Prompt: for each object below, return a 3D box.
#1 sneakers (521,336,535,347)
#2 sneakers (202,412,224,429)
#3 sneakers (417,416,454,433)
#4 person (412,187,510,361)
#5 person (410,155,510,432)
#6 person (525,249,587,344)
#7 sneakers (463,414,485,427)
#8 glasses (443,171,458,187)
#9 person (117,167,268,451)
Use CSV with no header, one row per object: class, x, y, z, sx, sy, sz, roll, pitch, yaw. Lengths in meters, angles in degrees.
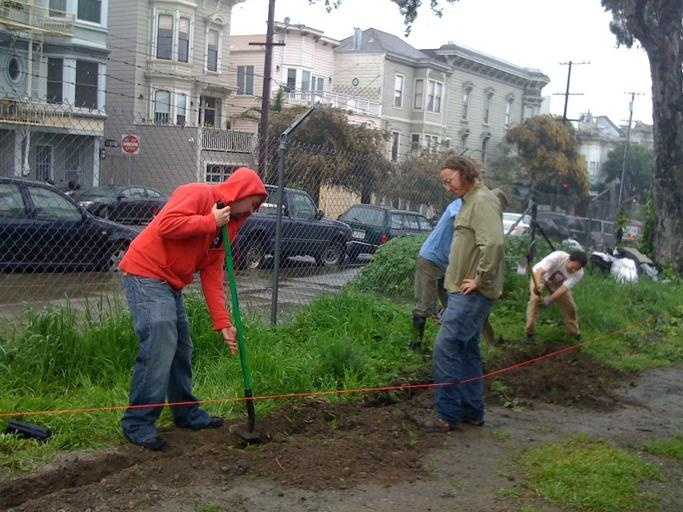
sneakers,2.482,1.131,8.940,0.143,0.164,0.104,-3,3,16
sneakers,-1.115,1.426,5.862,0.151,0.073,0.105,2,3,-7
sneakers,0.866,1.581,6.371,0.251,0.103,0.155,11,-2,2
person,1.406,0.152,8.504,0.735,2.457,0.717,6,16,-31
person,1.160,0.355,6.410,0.670,2.508,0.742,7,11,14
person,2.914,0.465,9.173,0.713,1.379,0.886,4,18,-3
sneakers,1.293,1.603,6.613,0.236,0.130,0.088,3,-1,15
glasses,1.041,-0.733,6.473,0.138,0.081,0.112,3,-2,-16
person,-1.268,0.388,5.562,1.032,2.229,0.658,-1,12,-24
